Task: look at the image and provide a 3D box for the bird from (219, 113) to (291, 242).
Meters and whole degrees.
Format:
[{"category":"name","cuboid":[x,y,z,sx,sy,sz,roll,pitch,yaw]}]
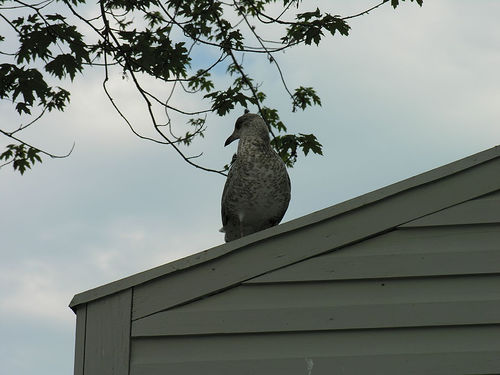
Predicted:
[{"category":"bird","cuboid":[0.038,-0.159,11.268,0.600,1.228,0.809,6,-49,-8]}]
